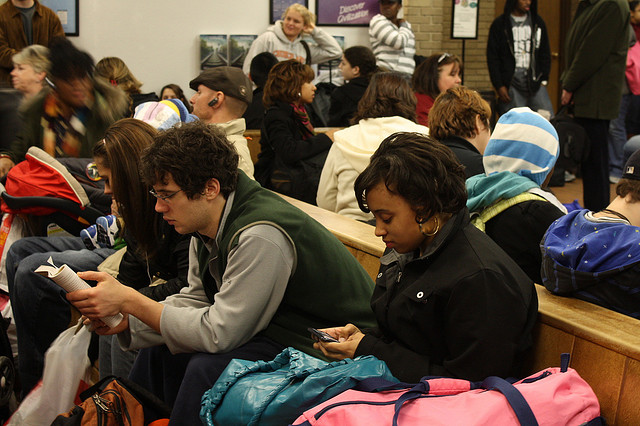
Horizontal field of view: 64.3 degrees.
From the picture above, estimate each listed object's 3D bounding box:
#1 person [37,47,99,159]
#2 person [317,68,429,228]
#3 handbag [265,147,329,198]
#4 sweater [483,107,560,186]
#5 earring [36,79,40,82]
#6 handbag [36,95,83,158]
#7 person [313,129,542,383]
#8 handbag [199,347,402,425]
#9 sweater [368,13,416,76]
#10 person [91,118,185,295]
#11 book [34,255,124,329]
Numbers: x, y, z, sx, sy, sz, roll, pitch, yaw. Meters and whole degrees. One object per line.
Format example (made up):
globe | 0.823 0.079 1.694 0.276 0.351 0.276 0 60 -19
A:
person | -2.161 -0.949 4.384 0.550 0.917 0.393 9 14 42
person | 0.449 -0.578 4.493 0.799 1.363 0.941 26 27 38
handbag | -0.209 -0.369 4.900 0.470 0.205 0.494 -2 18 32
sweater | 1.197 -0.413 3.040 0.498 0.513 0.386 2 7 -31
earring | -2.775 -1.300 4.989 0.028 0.030 0.007 -1 -9 -9
handbag | -2.220 -0.748 4.396 0.346 0.692 0.085 9 40 -27
person | 0.520 0.225 2.431 0.836 1.123 1.063 -1 -1 -16
handbag | -0.129 0.706 2.076 0.536 0.205 0.409 -15 -9 39
sweater | 1.124 -2.567 7.846 0.561 1.010 0.810 7 23 27
person | -1.267 -0.088 3.241 0.510 1.243 0.430 -20 54 -37
book | -1.168 0.331 2.418 0.352 0.115 0.360 45 -9 31
